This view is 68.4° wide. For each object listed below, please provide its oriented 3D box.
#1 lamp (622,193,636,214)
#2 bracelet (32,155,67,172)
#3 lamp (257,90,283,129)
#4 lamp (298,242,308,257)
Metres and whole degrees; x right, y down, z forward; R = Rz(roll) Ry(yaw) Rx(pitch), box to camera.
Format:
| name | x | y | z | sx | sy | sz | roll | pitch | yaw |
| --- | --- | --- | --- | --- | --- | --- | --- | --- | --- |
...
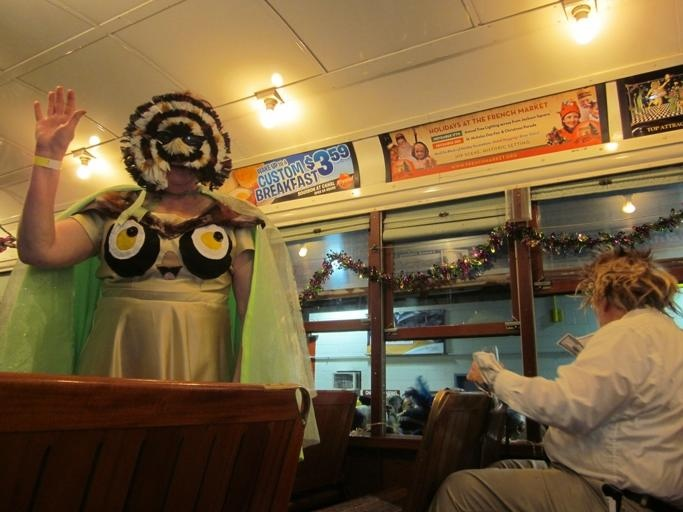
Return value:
| name | x | y | z | sx | sy | sz | roll | pitch | yaw |
| --- | --- | --- | --- | --- | --- | --- | --- | --- | --- |
| lamp | 2.061 | -0.364 | 3.619 | 0.089 | 0.158 | 0.032 | -6 | -14 | 26 |
| bracelet | -0.939 | -0.291 | 1.595 | 0.064 | 0.023 | 0.062 | 4 | 0 | 11 |
| lamp | -0.624 | -1.244 | 4.369 | 0.257 | 0.307 | 0.220 | -5 | -8 | 15 |
| lamp | -0.361 | -0.058 | 4.761 | 0.082 | 0.114 | 0.060 | 3 | -16 | 27 |
